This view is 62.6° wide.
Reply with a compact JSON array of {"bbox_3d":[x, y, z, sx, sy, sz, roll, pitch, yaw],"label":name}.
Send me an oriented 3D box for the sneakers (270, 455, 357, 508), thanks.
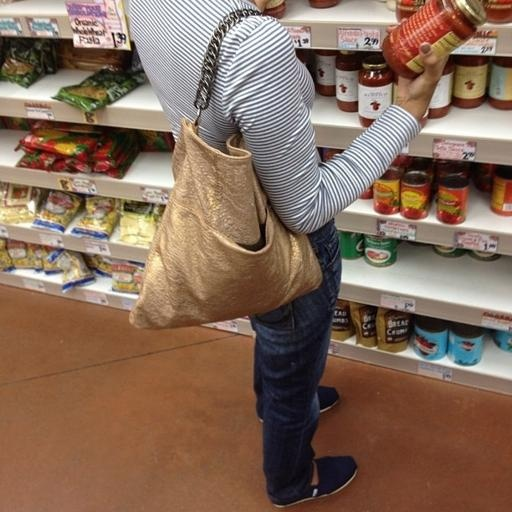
[{"bbox_3d":[0.197,0.849,1.637,0.375,0.143,0.138,-20,49,-10],"label":"sneakers"}]
